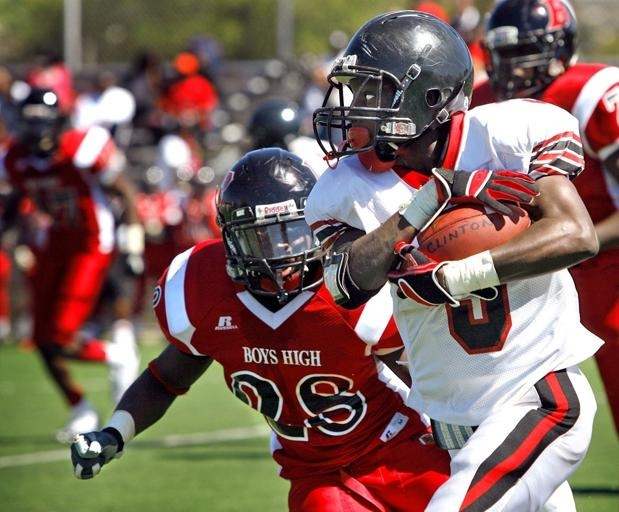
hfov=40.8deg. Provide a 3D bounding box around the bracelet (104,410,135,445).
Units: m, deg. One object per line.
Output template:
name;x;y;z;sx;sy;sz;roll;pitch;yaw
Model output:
bracelet;-0.609;0.556;2.671;0.082;0.085;0.104;15;-14;-18

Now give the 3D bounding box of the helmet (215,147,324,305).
helmet;-0.091;-0.110;2.661;0.340;0.391;0.443;-4;20;-5

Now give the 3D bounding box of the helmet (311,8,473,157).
helmet;0.218;-0.468;2.372;0.453;0.383;0.346;-6;3;-5

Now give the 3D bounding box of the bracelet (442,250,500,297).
bracelet;0.383;0.035;1.969;0.119;0.093;0.049;-15;-7;26

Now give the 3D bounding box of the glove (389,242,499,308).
glove;0.313;0.065;2.063;0.208;0.096;0.166;5;-16;-12

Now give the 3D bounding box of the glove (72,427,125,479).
glove;-0.668;0.592;2.619;0.167;0.136;0.079;-28;30;-10
